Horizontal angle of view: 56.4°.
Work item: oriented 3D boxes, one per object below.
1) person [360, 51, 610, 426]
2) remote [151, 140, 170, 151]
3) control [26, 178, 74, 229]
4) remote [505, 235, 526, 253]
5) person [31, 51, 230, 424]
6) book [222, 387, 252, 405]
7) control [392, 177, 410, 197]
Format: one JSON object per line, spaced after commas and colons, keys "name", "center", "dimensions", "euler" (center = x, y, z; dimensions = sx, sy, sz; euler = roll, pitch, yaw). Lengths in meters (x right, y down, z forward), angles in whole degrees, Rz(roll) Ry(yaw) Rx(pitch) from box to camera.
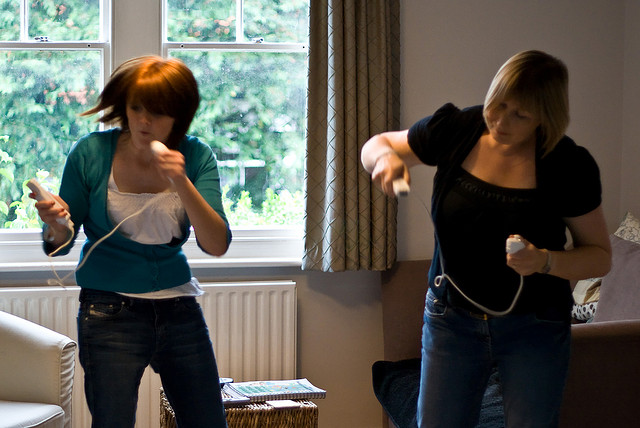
{"name": "person", "center": [0.634, 0.122, 2.286], "dimensions": [0.859, 1.460, 0.477], "euler": [2, 7, 25]}
{"name": "remote", "center": [-0.597, -0.253, 2.254], "dimensions": [0.065, 0.033, 0.028], "euler": [19, -14, 17]}
{"name": "control", "center": [-1.007, -0.038, 2.236], "dimensions": [0.148, 0.188, 0.067], "euler": [-4, 7, -22]}
{"name": "remote", "center": [0.720, 0.107, 2.196], "dimensions": [0.063, 0.052, 0.047], "euler": [2, -12, -19]}
{"name": "person", "center": [-0.712, 0.113, 2.317], "dimensions": [0.696, 1.440, 0.324], "euler": [-4, 7, -25]}
{"name": "book", "center": [-0.429, 0.919, 2.990], "dimensions": [0.177, 0.043, 0.164], "euler": [5, -2, -27]}
{"name": "control", "center": [0.287, -0.097, 2.199], "dimensions": [0.065, 0.063, 0.114], "euler": [1, 29, -5]}
